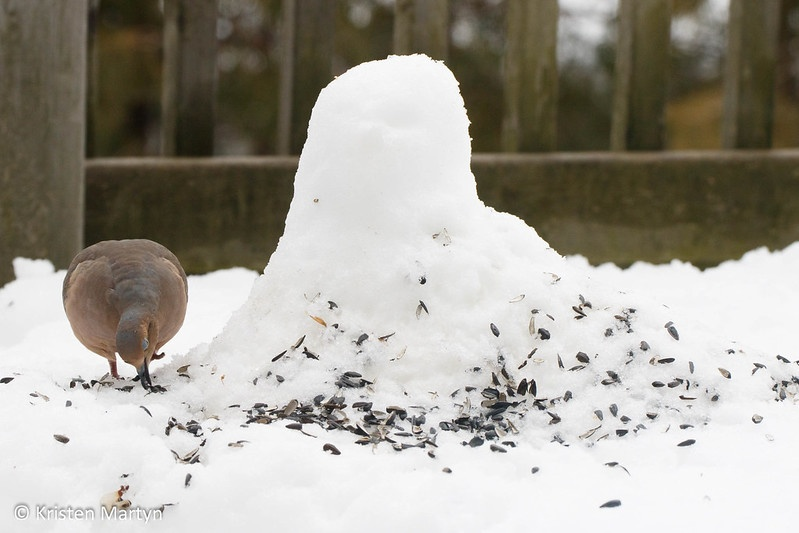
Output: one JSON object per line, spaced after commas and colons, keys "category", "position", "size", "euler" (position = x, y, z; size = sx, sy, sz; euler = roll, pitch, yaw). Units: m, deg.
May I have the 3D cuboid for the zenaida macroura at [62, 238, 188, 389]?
{"category": "zenaida macroura", "position": [-1.889, 0.314, 9.320], "size": [0.829, 1.047, 1.600], "euler": [-1, 22, -15]}
